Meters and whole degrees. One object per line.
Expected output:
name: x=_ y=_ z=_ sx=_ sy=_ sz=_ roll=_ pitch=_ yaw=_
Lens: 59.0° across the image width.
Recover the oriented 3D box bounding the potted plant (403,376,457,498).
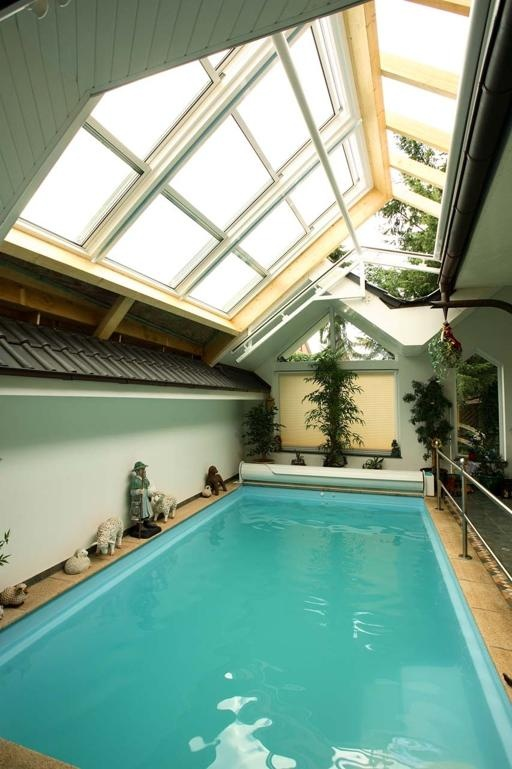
potted plant: x=3.750 y=0.901 z=9.784 sx=0.809 sy=2.152 sz=1.004 roll=0 pitch=-2 yaw=-8

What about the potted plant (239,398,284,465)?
potted plant: x=0.269 y=1.303 z=11.495 sx=0.889 sy=1.627 sz=1.045 roll=2 pitch=-1 yaw=-39

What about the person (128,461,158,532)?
person: x=-1.678 y=1.602 z=6.772 sx=0.320 sy=0.959 sz=0.711 roll=0 pitch=-2 yaw=-15
